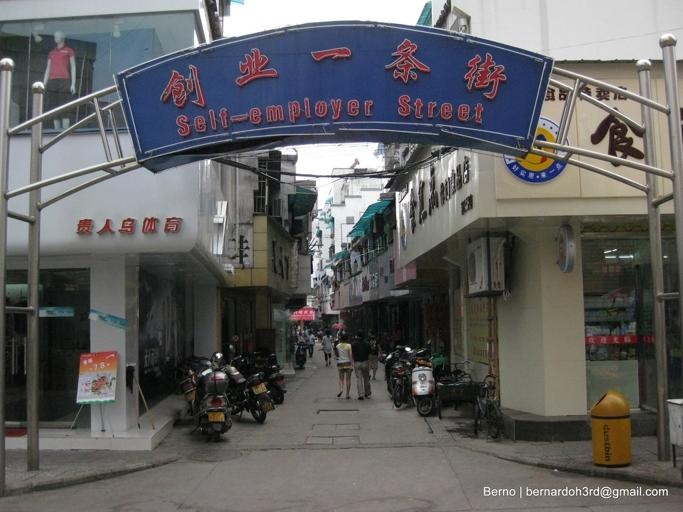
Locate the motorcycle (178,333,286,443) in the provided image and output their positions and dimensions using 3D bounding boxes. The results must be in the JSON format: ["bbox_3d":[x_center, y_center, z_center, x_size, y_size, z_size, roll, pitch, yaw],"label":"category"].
[{"bbox_3d":[-2.470,2.947,16.863,1.399,2.003,2.615,1,2,-16],"label":"motorcycle"}]

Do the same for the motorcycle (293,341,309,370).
[{"bbox_3d":[-1.692,4.282,32.371,0.489,0.791,1.270,0,-7,0],"label":"motorcycle"}]

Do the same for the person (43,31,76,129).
[{"bbox_3d":[-5.208,-3.295,14.255,0.486,1.810,0.441,-3,6,-14],"label":"person"}]

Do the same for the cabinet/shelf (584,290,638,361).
[{"bbox_3d":[5.199,1.353,14.917,1.143,1.247,0.429,0,0,-4],"label":"cabinet/shelf"}]

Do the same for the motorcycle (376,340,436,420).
[{"bbox_3d":[1.712,3.001,18.643,0.947,1.479,3.706,-1,1,0],"label":"motorcycle"}]

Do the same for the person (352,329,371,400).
[{"bbox_3d":[0.521,2.823,19.870,0.459,1.814,0.783,-1,1,0],"label":"person"}]

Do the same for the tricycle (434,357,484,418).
[{"bbox_3d":[2.432,2.747,16.100,0.940,1.314,0.933,1,3,27],"label":"tricycle"}]

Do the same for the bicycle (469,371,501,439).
[{"bbox_3d":[2.754,2.937,14.713,0.485,1.061,0.609,-2,2,9],"label":"bicycle"}]
